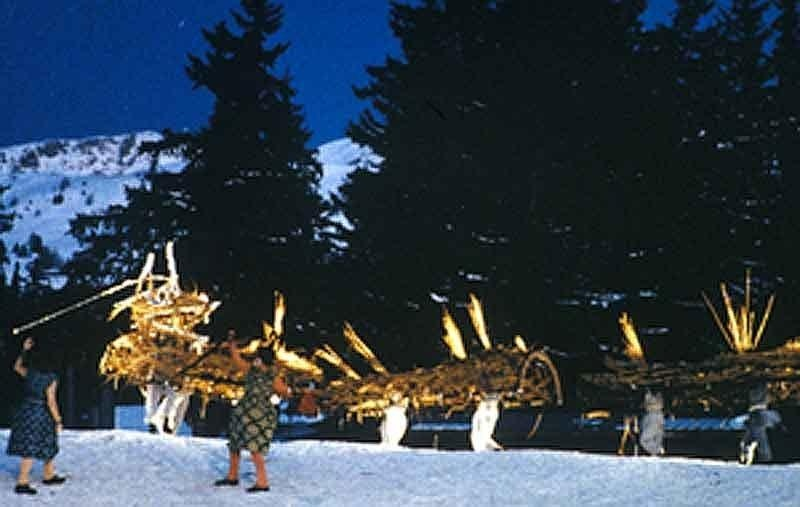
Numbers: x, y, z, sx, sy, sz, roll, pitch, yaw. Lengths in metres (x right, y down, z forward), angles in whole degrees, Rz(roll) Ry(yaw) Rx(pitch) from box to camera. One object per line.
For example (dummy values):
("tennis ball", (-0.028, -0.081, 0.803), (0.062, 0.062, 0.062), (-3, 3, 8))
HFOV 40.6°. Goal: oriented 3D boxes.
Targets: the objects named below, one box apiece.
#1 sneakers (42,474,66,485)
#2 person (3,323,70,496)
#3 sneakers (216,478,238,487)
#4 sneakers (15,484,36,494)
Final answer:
("sneakers", (-6.225, 4.085, 19.472), (0.354, 0.117, 0.173), (0, -2, -12))
("person", (-6.548, 3.046, 19.431), (0.965, 2.507, 0.669), (1, -13, -17))
("sneakers", (-3.130, 4.184, 19.696), (0.432, 0.149, 0.151), (4, -10, 2))
("sneakers", (-6.644, 4.206, 19.203), (0.345, 0.121, 0.168), (3, -3, -7))
